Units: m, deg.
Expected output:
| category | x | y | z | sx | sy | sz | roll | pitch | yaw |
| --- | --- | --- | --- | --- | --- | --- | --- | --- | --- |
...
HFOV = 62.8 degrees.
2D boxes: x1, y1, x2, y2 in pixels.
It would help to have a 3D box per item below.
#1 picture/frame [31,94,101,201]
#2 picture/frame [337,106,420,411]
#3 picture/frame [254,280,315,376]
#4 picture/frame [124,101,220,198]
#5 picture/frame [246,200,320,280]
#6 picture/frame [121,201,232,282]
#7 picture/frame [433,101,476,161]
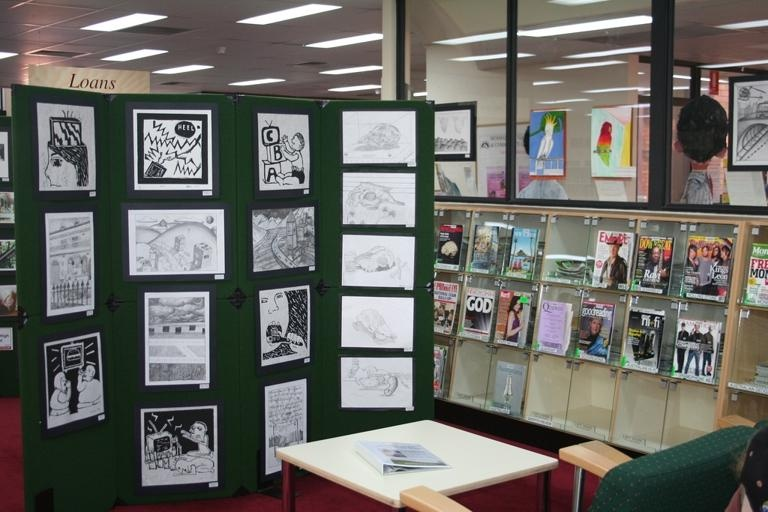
| category | x | y | z | sx | sy | sz | roll | pitch | yaw |
| --- | --- | --- | --- | --- | --- | --- | --- | --- | --- |
| picture/frame | -2.151 | -0.725 | 4.260 | 0.040 | 0.598 | 0.405 | 4 | 8 | 39 |
| picture/frame | -0.042 | 0.035 | 5.023 | 0.629 | 2.392 | 0.228 | -1 | 6 | 2 |
| picture/frame | -0.793 | 0.547 | 4.848 | 0.731 | 0.934 | 0.043 | -4 | 8 | -38 |
| picture/frame | -1.556 | -0.777 | 4.527 | 0.713 | 0.697 | 0.070 | 0 | 5 | -7 |
| picture/frame | -0.799 | -0.124 | 4.814 | 0.594 | 0.559 | 0.035 | -7 | 11 | -39 |
| picture/frame | -1.542 | -0.112 | 4.562 | 0.599 | 0.418 | 0.022 | 0 | 5 | -10 |
| picture/frame | 0.734 | -1.274 | 6.525 | 0.518 | 0.603 | 0.130 | 4 | 8 | 40 |
